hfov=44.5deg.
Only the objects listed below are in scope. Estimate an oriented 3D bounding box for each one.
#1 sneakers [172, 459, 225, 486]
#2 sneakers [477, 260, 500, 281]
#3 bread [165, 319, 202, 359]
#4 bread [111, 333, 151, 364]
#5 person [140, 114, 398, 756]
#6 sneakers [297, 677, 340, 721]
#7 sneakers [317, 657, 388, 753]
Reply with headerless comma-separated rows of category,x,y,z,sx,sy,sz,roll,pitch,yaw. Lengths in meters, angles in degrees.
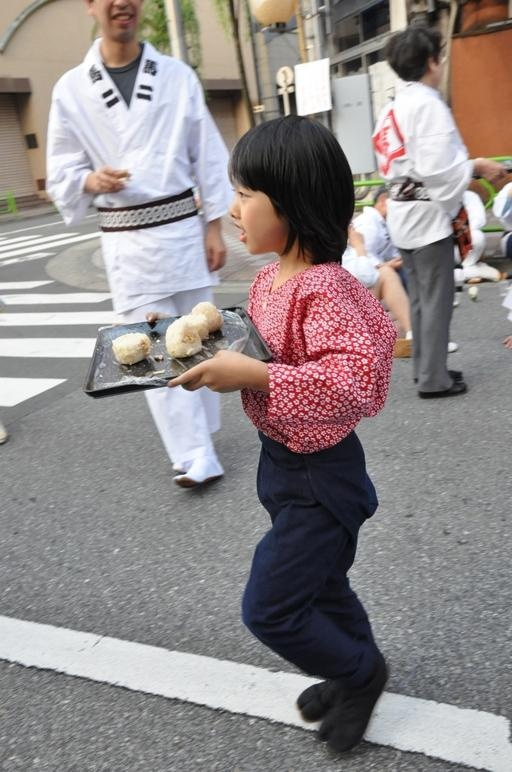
sneakers,-0.282,0.428,3.067,0.229,0.074,0.153,-2,54,-48
sneakers,2.417,-1.187,6.526,0.187,0.088,0.233,-22,37,-19
bread,-0.167,-0.109,1.491,0.082,0.028,0.098,-18,57,8
bread,-0.304,-0.100,1.537,0.071,0.044,0.090,-19,26,-18
person,0.121,0.185,1.379,0.411,1.425,0.574,-5,29,17
sneakers,0.135,0.770,1.554,0.057,0.164,0.114,30,75,21
sneakers,0.222,0.741,1.496,0.106,0.082,0.216,7,43,48
